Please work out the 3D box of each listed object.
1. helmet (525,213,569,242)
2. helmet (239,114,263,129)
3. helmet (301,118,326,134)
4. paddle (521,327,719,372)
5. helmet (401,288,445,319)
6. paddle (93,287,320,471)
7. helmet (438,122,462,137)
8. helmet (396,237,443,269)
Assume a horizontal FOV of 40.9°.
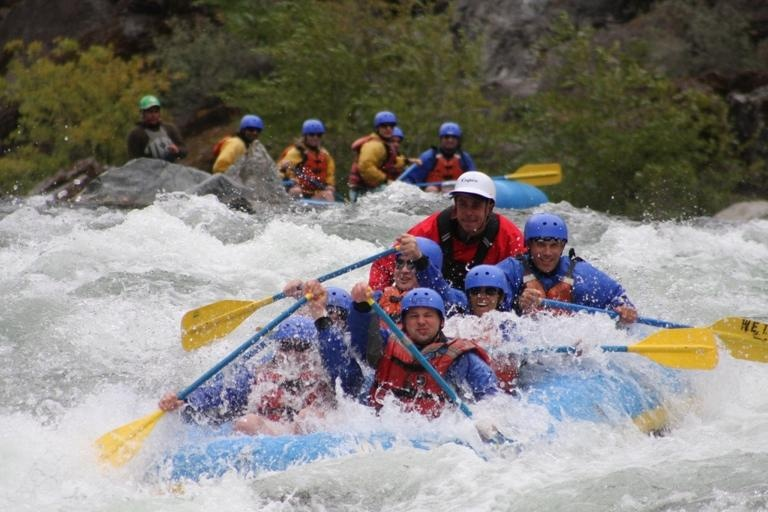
[{"bbox_3d":[1.908,-0.288,12.154,0.484,0.406,0.298,3,41,4],"label":"helmet"},{"bbox_3d":[-2.194,-2.212,17.007,0.300,0.200,0.412,3,-6,-26],"label":"helmet"},{"bbox_3d":[-1.240,-2.163,17.552,0.456,0.261,0.442,-3,10,-20],"label":"helmet"},{"bbox_3d":[2.646,1.044,11.673,2.677,0.671,0.103,1,-11,-6],"label":"paddle"},{"bbox_3d":[0.420,0.487,11.086,0.304,0.388,0.308,-1,-5,8],"label":"helmet"},{"bbox_3d":[-1.955,1.418,11.349,3.401,0.468,0.160,-32,8,-20],"label":"paddle"},{"bbox_3d":[1.081,-2.039,16.921,0.386,0.374,0.468,4,10,0],"label":"helmet"},{"bbox_3d":[0.454,-0.082,12.231,0.353,0.464,0.429,1,34,32],"label":"helmet"}]
